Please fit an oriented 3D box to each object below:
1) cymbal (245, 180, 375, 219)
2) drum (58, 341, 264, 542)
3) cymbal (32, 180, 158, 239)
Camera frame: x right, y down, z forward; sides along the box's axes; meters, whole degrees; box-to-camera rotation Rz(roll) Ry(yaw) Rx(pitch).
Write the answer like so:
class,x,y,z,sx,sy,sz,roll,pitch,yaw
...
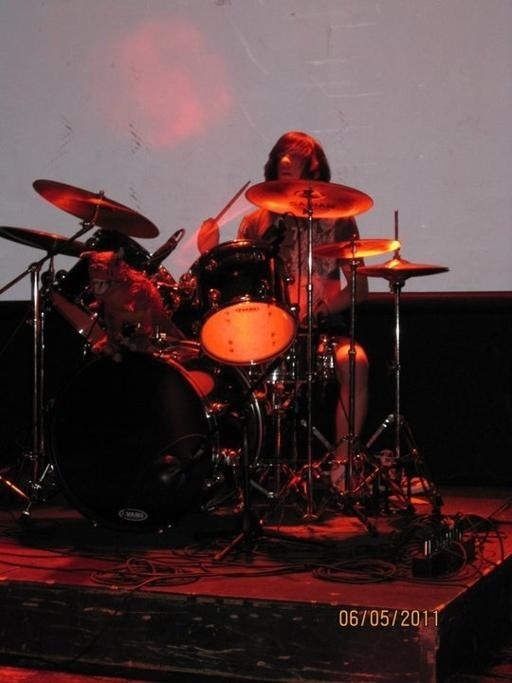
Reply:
class,x,y,z,sx,sy,sz,roll,pitch,yaw
cymbal,0.190,-0.495,2.773,0.301,0.052,0.258,7,-2,-9
drum,-0.294,0.236,2.649,0.855,0.634,0.558,1,6,20
cymbal,-0.557,-0.455,2.778,0.350,0.224,0.378,-2,12,10
